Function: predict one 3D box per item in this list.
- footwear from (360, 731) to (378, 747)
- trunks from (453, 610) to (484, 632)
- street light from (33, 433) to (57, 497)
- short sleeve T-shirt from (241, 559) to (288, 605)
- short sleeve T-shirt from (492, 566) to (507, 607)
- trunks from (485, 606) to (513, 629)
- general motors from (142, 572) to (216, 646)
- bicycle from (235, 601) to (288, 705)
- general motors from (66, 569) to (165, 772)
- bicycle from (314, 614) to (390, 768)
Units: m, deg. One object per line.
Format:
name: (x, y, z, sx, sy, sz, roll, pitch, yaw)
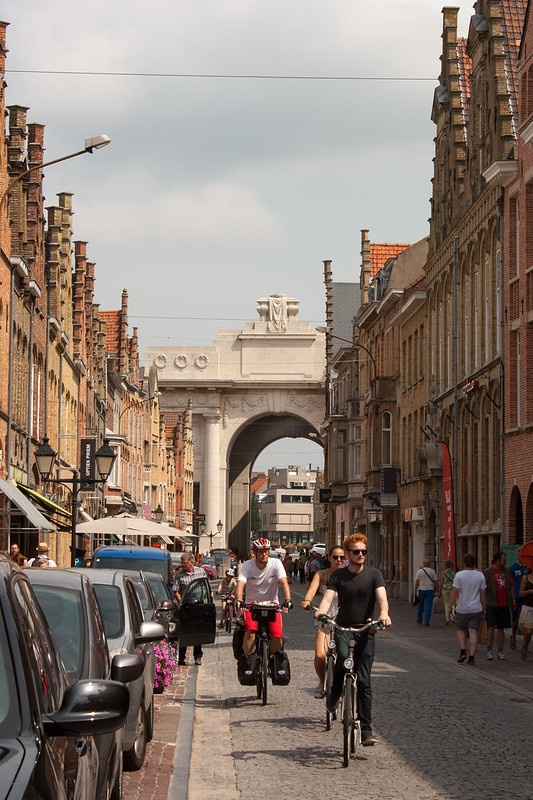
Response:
footwear: (0.733, 2.434, 10.064, 0.103, 0.095, 0.188, 0, -8, 2)
trunks: (2.870, 3.106, 19.819, 0.237, 0.486, 0.415, -2, 4, -39)
street light: (-4.179, 1.038, 26.310, 0.350, 0.923, 0.437, 5, 11, 11)
short sleeve T-shirt: (-0.057, 1.774, 13.638, 0.502, 0.682, 0.353, 0, -19, -4)
short sleeve T-shirt: (3.541, 2.845, 21.120, 0.248, 0.453, 0.145, -2, -4, -6)
trunks: (3.513, 3.250, 20.940, 0.421, 0.530, 0.281, 2, -3, -4)
general motors: (-0.987, 2.788, 18.634, 0.622, 0.698, 1.203, -1, -19, 0)
bicycle: (-0.026, 2.400, 13.779, 0.418, 0.720, 1.078, 1, -2, -3)
general motors: (-1.003, 1.801, 9.972, 0.768, 0.869, 1.449, -1, -11, 1)
bicycle: (0.591, 2.097, 10.182, 0.391, 0.727, 1.067, 3, -11, 3)
